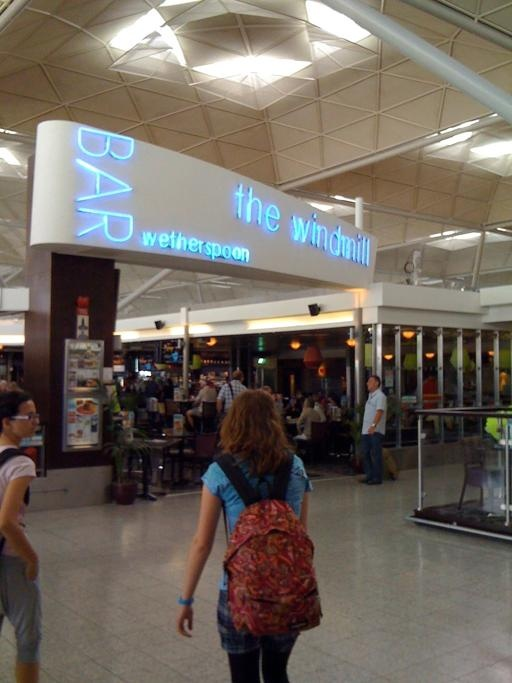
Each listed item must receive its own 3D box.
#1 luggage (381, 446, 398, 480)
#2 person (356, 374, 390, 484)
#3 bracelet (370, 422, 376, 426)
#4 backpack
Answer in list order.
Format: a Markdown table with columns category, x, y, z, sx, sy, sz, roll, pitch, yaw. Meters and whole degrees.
| category | x | y | z | sx | sy | sz | roll | pitch | yaw |
| --- | --- | --- | --- | --- | --- | --- | --- | --- | --- |
| luggage | 2.925 | 2.640 | 11.798 | 0.219 | 0.628 | 0.458 | -18 | -13 | 2 |
| person | 2.397 | 1.815 | 11.172 | 0.444 | 2.182 | 0.685 | 4 | -9 | -27 |
| bracelet | 2.348 | 1.656 | 10.977 | 0.104 | 0.049 | 0.116 | -1 | 6 | -1 |
| backpack | 0.037 | 0.610 | 1.685 | 0.283 | 0.491 | 0.265 | -4 | 1 | -29 |
